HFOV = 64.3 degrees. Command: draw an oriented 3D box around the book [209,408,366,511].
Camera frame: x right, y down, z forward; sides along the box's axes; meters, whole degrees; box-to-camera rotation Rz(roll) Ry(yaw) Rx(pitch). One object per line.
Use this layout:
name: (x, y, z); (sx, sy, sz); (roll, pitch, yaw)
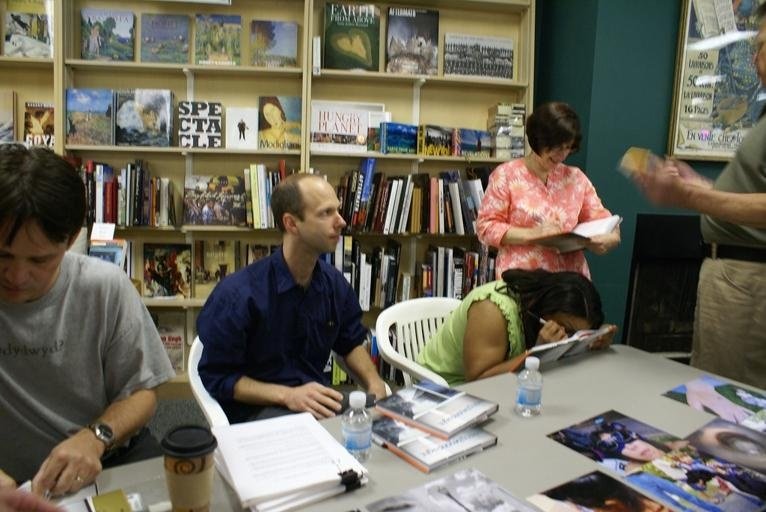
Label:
book: (-0.350, 0.728, 2.211); (0.331, 0.082, 0.334); (-8, 30, -30)

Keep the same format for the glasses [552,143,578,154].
glasses: (1.017, -0.597, 3.413); (0.081, 0.043, 0.102); (-3, -6, 7)

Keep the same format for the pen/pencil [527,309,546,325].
pen/pencil: (0.717, 0.283, 2.839); (0.090, 0.024, 0.017); (42, 14, 27)

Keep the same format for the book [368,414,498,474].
book: (0.148, 0.701, 2.299); (0.225, 0.035, 0.212); (-3, 14, -39)

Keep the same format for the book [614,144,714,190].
book: (1.356, -0.441, 2.933); (0.341, 0.132, 0.206); (22, 28, 14)

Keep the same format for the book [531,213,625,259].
book: (1.104, -0.105, 3.414); (0.559, 0.225, 0.329); (-8, 11, -34)
